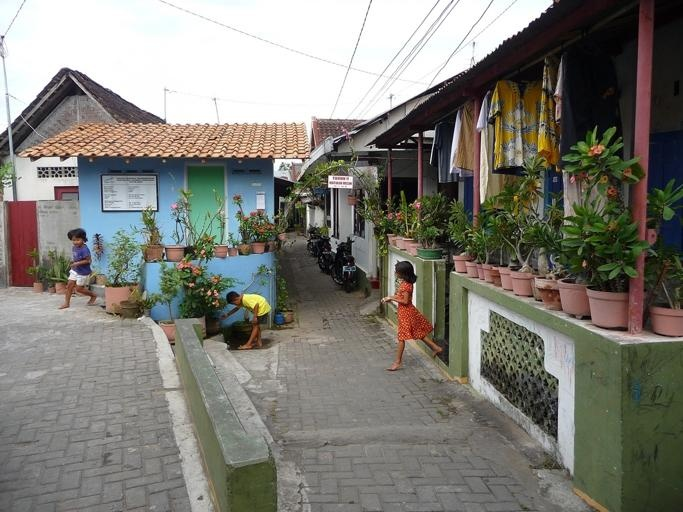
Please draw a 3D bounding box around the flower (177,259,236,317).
[{"bbox_3d":[-2.342,0.549,9.133,0.833,1.189,1.189,3,3,35],"label":"flower"}]

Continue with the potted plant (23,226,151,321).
[{"bbox_3d":[-5.249,0.305,10.918,1.862,3.293,1.465,4,-2,-40],"label":"potted plant"}]

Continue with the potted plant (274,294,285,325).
[{"bbox_3d":[-1.251,1.095,10.760,0.196,0.553,0.489,2,5,-6],"label":"potted plant"}]

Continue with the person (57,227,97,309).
[{"bbox_3d":[-4.831,0.229,9.567,0.580,1.473,0.600,0,5,-28],"label":"person"}]

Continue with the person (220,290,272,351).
[{"bbox_3d":[-1.653,1.060,9.206,0.665,1.027,1.364,1,5,-11],"label":"person"}]

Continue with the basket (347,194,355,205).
[{"bbox_3d":[0.275,-1.549,14.281,0.221,0.219,0.223,0,0,-4],"label":"basket"}]
